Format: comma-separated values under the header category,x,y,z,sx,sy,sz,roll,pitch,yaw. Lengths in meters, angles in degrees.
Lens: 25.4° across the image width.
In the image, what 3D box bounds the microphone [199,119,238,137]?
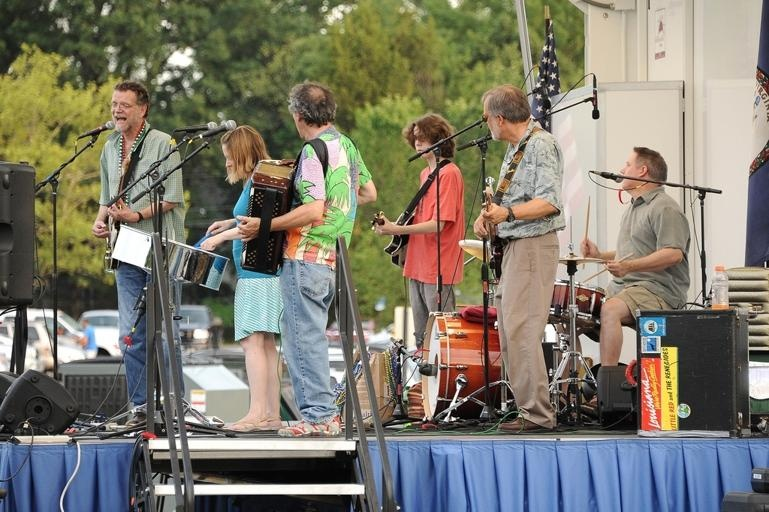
category,x,y,z,sx,sy,sz,roll,pitch,yaw
microphone,-2.106,-1.585,21.447,0.583,0.163,0.164,-5,-14,45

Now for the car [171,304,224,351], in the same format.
category,x,y,z,sx,sy,sz,roll,pitch,yaw
car,-4.573,1.775,41.526,1.688,0.989,2.681,0,-8,-2

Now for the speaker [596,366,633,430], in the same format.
category,x,y,z,sx,sy,sz,roll,pitch,yaw
speaker,2.945,1.806,21.650,0.471,0.792,0.245,-2,-8,6

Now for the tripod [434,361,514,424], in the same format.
category,x,y,z,sx,sy,sz,roll,pitch,yaw
tripod,1.055,1.714,21.938,0.884,0.772,0.827,0,-18,3

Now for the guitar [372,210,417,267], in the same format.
category,x,y,z,sx,sy,sz,roll,pitch,yaw
guitar,0.133,-0.248,28.217,0.259,0.744,1.833,18,-1,18

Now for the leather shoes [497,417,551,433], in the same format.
category,x,y,z,sx,sy,sz,roll,pitch,yaw
leather shoes,1.749,2.129,21.385,0.673,0.234,0.229,2,-3,12

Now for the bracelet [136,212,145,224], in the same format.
category,x,y,z,sx,sy,sz,roll,pitch,yaw
bracelet,-3.104,-0.485,21.710,0.107,0.142,0.134,-4,-1,-11

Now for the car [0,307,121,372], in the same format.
category,x,y,z,sx,sy,sz,roll,pitch,yaw
car,-6.007,1.600,31.615,3.119,1.243,1.417,-4,-2,5

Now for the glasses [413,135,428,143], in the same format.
category,x,y,z,sx,sy,sz,roll,pitch,yaw
glasses,0.486,-1.541,22.715,0.103,0.065,0.126,13,-4,-35

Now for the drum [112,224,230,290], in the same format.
category,x,y,z,sx,sy,sz,roll,pitch,yaw
drum,-2.726,0.053,21.576,1.202,0.410,0.880,12,-3,-7

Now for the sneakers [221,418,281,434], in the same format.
category,x,y,z,sx,sy,sz,roll,pitch,yaw
sneakers,-1.671,2.158,21.491,0.738,0.275,0.234,4,-8,0

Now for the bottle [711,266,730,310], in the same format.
category,x,y,z,sx,sy,sz,roll,pitch,yaw
bottle,4.211,0.414,21.449,0.206,0.561,0.458,-3,-8,10

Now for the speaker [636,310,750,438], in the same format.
category,x,y,z,sx,sy,sz,roll,pitch,yaw
speaker,3.832,1.506,21.853,2.032,1.788,1.475,-1,-3,6

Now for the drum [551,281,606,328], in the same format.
category,x,y,z,sx,sy,sz,roll,pitch,yaw
drum,2.472,0.642,21.877,0.659,0.368,0.581,6,-6,-23

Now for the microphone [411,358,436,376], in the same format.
category,x,y,z,sx,sy,sz,roll,pitch,yaw
microphone,0.542,1.457,22.117,0.250,0.240,0.418,0,-8,-6
